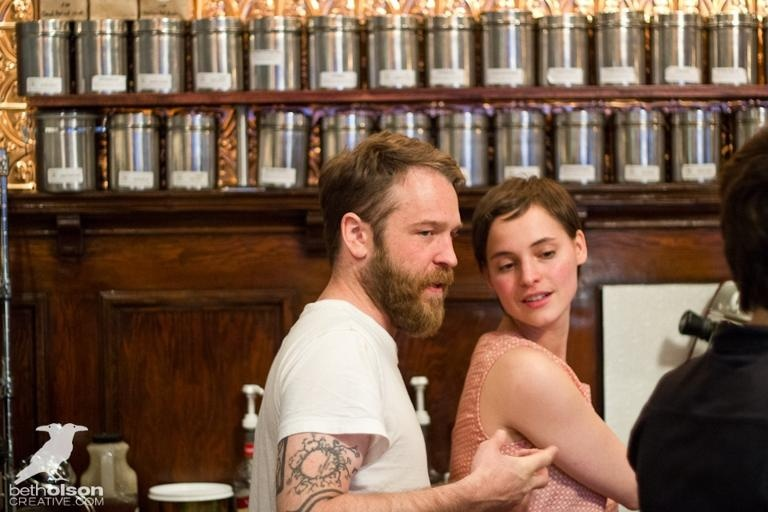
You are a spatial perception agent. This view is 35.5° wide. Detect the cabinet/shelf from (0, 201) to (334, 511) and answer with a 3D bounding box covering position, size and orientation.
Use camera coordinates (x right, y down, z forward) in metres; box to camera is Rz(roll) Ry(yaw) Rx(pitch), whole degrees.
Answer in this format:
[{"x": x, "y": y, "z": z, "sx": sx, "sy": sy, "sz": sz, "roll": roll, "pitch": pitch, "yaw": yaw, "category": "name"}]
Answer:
[{"x": -0.803, "y": 0.347, "z": 4.157, "sx": 1.017, "sy": 1.037, "sz": 0.373, "roll": -1, "pitch": 3, "yaw": -2, "category": "cabinet/shelf"}]
